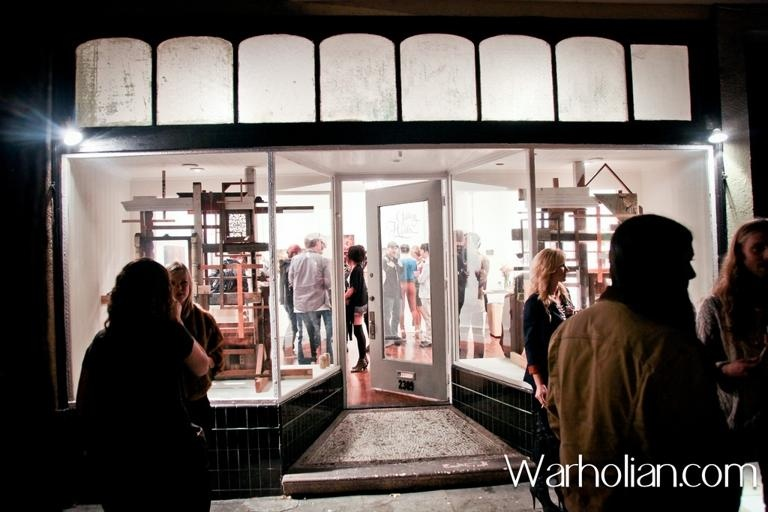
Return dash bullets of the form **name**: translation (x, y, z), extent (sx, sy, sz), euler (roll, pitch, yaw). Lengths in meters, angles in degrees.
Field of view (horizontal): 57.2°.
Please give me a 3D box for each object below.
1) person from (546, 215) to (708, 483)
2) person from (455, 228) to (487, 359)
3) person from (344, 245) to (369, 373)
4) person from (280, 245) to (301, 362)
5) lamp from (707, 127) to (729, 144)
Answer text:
- **person**: translation (1.486, 0.509, 4.226), extent (0.943, 1.530, 0.247), euler (-1, -1, 6)
- **person**: translation (0.888, 0.391, 7.254), extent (0.143, 1.129, 0.494), euler (-1, 0, -16)
- **person**: translation (-0.313, 0.648, 8.205), extent (0.260, 1.178, 0.924), euler (-1, 0, -2)
- **person**: translation (-0.889, 0.413, 6.802), extent (0.191, 0.821, 0.440), euler (-1, 0, -4)
- **lamp**: translation (2.966, -1.059, 6.217), extent (0.144, 0.087, 0.142), euler (8, -3, -42)
